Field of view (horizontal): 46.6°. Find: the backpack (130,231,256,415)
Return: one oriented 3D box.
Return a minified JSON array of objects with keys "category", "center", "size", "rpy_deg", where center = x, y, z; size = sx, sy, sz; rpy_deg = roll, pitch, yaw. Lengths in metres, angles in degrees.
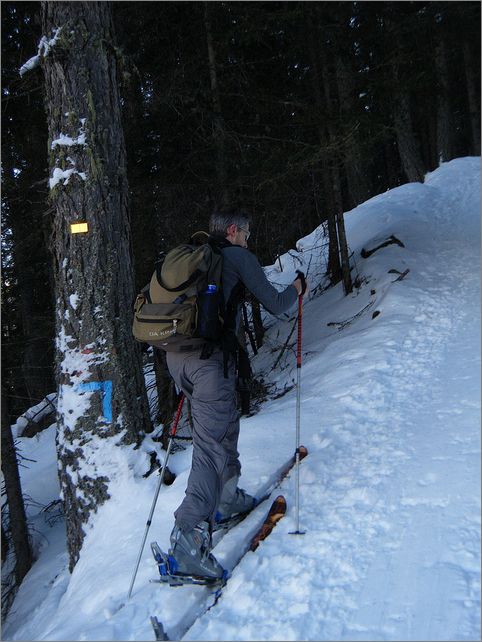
[{"category":"backpack","center":[-0.280,0.081,3.333],"size":[0.698,0.847,0.390],"rpy_deg":[-12,5,-12]}]
